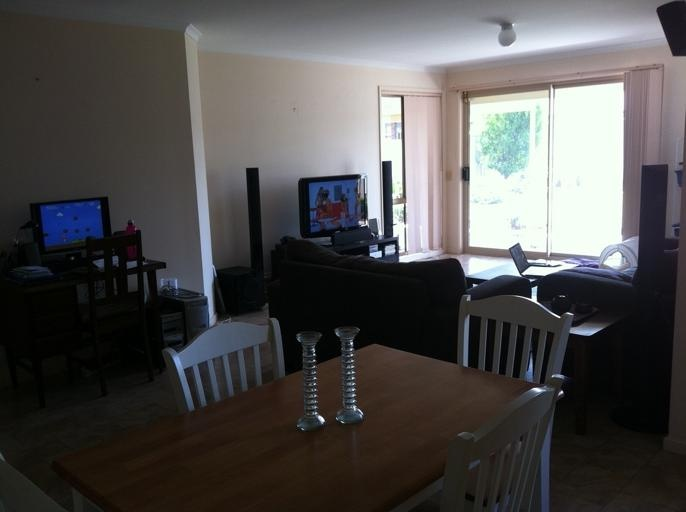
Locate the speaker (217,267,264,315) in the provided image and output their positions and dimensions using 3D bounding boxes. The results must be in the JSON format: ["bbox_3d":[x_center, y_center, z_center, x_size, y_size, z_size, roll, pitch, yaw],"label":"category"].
[{"bbox_3d":[-1.144,0.408,5.825,0.487,0.406,0.508,-4,2,-19],"label":"speaker"}]

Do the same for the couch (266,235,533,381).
[{"bbox_3d":[0.303,0.374,4.026,0.986,1.049,1.729,-11,12,-42],"label":"couch"}]

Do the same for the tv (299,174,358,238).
[{"bbox_3d":[-0.088,-0.637,6.678,1.113,0.810,0.138,-13,14,-42],"label":"tv"}]

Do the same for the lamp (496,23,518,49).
[{"bbox_3d":[1.754,-2.355,5.499,0.147,0.217,0.380,1,11,22],"label":"lamp"}]

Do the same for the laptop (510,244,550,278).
[{"bbox_3d":[1.881,0.047,5.196,0.360,0.258,0.418,3,17,21],"label":"laptop"}]

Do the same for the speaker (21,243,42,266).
[{"bbox_3d":[-2.422,-0.005,4.023,0.118,0.212,0.112,-9,17,-26],"label":"speaker"}]

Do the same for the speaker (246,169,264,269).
[{"bbox_3d":[-0.990,-0.409,5.888,0.176,1.181,0.445,-5,9,-11],"label":"speaker"}]

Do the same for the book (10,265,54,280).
[{"bbox_3d":[-2.176,0.125,3.635,0.291,0.071,0.196,5,13,40],"label":"book"}]

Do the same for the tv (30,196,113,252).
[{"bbox_3d":[-2.219,-0.252,4.189,0.398,0.291,0.044,-21,19,-37],"label":"tv"}]

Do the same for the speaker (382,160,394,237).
[{"bbox_3d":[0.657,-0.816,7.451,0.156,1.078,0.168,-3,9,0],"label":"speaker"}]
